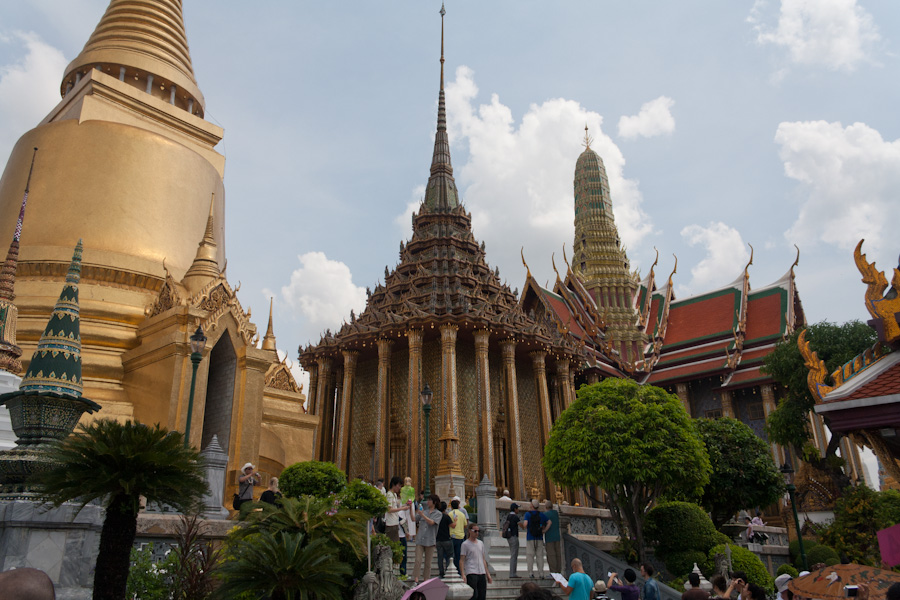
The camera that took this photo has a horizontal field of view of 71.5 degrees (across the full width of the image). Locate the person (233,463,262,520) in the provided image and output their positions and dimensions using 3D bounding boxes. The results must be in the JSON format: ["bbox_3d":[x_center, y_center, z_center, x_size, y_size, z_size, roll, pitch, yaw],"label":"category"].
[{"bbox_3d":[-3.599,3.531,11.148,0.418,1.110,0.366,8,-39,-23],"label":"person"}]
